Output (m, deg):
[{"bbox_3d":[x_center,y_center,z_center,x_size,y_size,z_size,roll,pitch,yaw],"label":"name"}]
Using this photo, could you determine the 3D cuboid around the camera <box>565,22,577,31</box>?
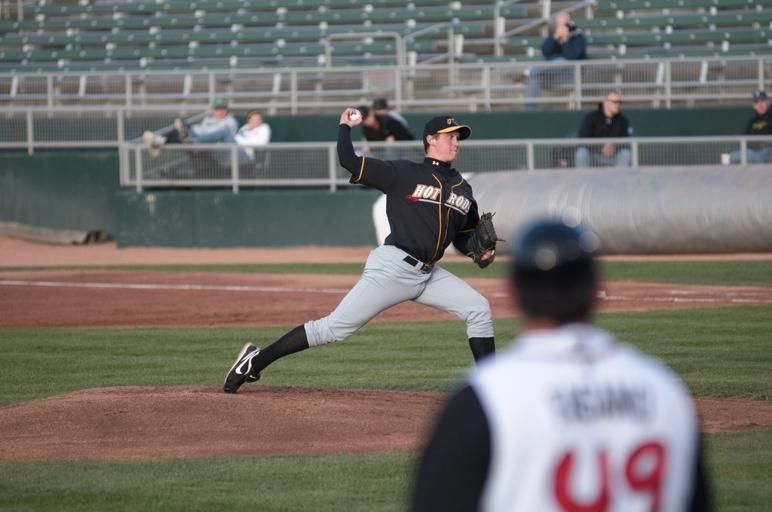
[{"bbox_3d":[3.770,-4.516,38.187,0.146,0.165,0.132,-4,1,-4],"label":"camera"}]

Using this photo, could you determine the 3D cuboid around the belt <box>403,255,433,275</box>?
[{"bbox_3d":[0.543,0.146,30.333,0.344,0.111,0.309,25,-3,9],"label":"belt"}]

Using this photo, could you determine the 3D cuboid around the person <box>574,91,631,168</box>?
[{"bbox_3d":[4.249,-2.328,36.580,1.105,1.472,0.997,2,8,-23],"label":"person"}]

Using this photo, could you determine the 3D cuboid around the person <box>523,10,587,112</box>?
[{"bbox_3d":[3.500,-3.989,38.422,1.738,1.506,0.748,-8,11,-14],"label":"person"}]

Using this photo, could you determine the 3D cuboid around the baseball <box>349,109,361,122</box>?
[{"bbox_3d":[-0.431,-2.206,30.384,0.208,0.178,0.154,-2,5,-22],"label":"baseball"}]
